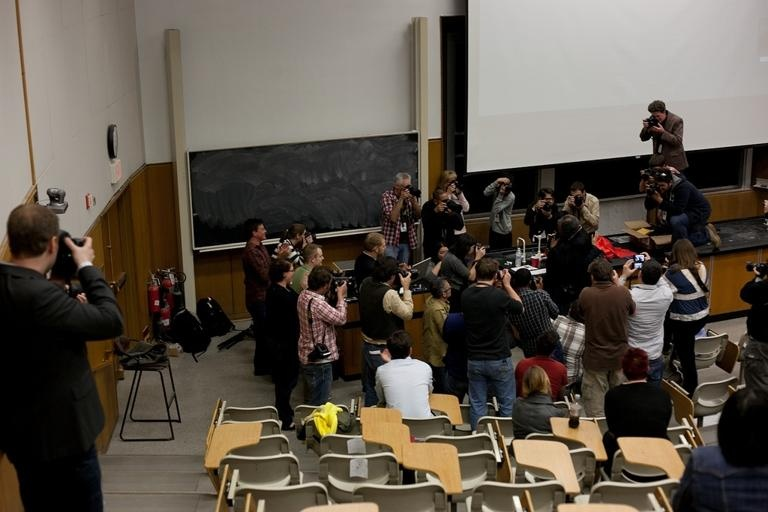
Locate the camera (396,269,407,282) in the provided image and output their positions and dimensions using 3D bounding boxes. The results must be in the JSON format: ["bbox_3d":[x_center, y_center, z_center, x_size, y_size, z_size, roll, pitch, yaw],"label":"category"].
[{"bbox_3d":[0.192,0.222,7.519,0.147,0.076,0.217,-1,3,0],"label":"camera"}]

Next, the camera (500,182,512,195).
[{"bbox_3d":[1.949,-1.093,10.310,0.178,0.143,0.191,-4,10,-14],"label":"camera"}]

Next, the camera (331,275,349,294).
[{"bbox_3d":[-0.477,0.291,7.391,0.098,0.162,0.397,5,8,38],"label":"camera"}]

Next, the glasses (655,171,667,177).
[{"bbox_3d":[3.936,-1.165,9.129,0.146,0.067,0.028,-5,7,-1],"label":"glasses"}]

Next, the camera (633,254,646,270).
[{"bbox_3d":[3.188,0.072,8.040,0.166,0.046,0.178,-6,27,10],"label":"camera"}]

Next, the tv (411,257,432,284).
[{"bbox_3d":[0.520,0.180,8.645,0.262,0.279,0.408,22,-14,16],"label":"tv"}]

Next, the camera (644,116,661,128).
[{"bbox_3d":[4.173,-2.083,10.019,0.172,0.141,0.192,-1,5,-6],"label":"camera"}]

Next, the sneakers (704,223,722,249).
[{"bbox_3d":[4.852,-0.290,9.506,0.140,0.381,0.140,-7,-12,-46],"label":"sneakers"}]

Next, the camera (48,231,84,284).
[{"bbox_3d":[-1.920,0.007,3.865,0.255,0.269,0.099,5,5,20],"label":"camera"}]
